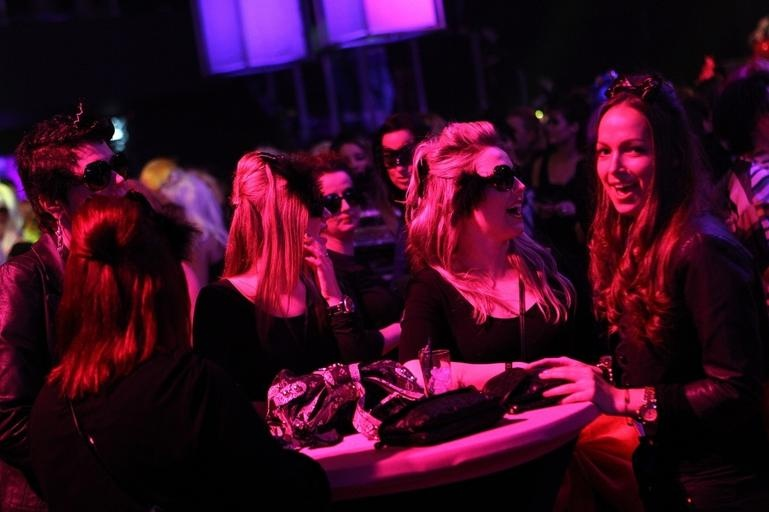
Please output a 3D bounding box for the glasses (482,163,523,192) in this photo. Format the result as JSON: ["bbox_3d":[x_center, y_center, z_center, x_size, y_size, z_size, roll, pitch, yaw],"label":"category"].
[{"bbox_3d":[0.620,-0.404,3.755,0.228,0.138,0.116,-15,15,-37],"label":"glasses"}]

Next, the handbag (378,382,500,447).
[{"bbox_3d":[0.239,0.701,3.165,0.415,0.132,0.240,-13,8,-13],"label":"handbag"}]

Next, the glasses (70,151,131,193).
[{"bbox_3d":[-1.373,-0.408,3.520,0.209,0.090,0.173,-5,21,35],"label":"glasses"}]

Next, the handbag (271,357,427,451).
[{"bbox_3d":[-0.195,0.639,3.253,0.538,0.207,0.400,-5,22,3],"label":"handbag"}]
